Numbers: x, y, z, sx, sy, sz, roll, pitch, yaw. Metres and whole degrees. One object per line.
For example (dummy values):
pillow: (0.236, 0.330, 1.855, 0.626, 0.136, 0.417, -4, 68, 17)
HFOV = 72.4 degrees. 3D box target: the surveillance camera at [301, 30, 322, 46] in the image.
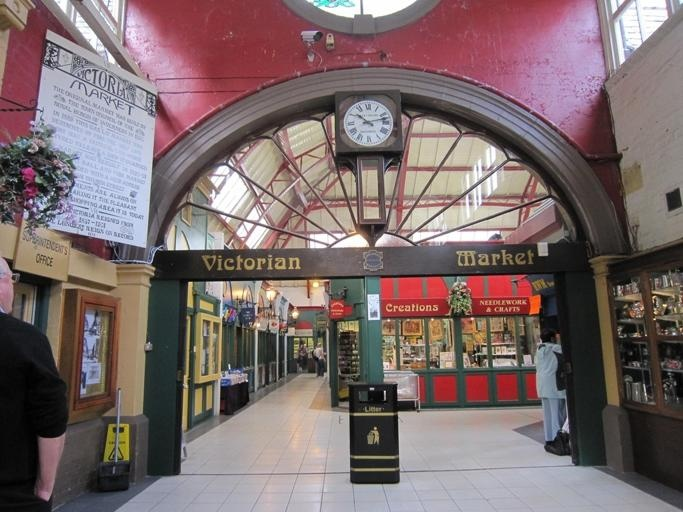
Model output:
surveillance camera: (-0.480, -3.364, 7.219, 0.297, 0.295, 0.225, 0, -12, 7)

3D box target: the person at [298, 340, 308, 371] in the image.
person: (-2.354, 6.095, 27.669, 0.527, 1.446, 0.645, 1, -8, -9)

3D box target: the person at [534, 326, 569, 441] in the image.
person: (3.464, 2.146, 7.734, 0.422, 1.850, 0.616, -4, -9, 23)

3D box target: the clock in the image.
clock: (0.399, -1.467, 6.951, 0.993, 2.192, 0.386, -1, -19, 3)
